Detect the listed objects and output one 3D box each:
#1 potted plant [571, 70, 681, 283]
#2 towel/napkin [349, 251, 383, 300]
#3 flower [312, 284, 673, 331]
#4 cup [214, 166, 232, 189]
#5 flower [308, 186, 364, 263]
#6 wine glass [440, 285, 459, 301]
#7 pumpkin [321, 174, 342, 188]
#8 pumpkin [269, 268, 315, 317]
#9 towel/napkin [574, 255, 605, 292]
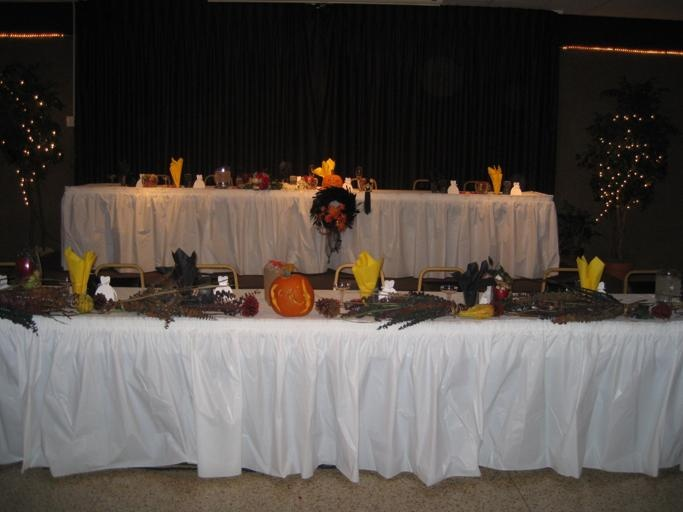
[{"bbox_3d":[4.066,-1.198,9.769,1.257,2.623,0.795,4,10,22],"label":"potted plant"},{"bbox_3d":[0.166,0.132,4.589,0.164,0.316,0.211,-3,16,2],"label":"towel/napkin"},{"bbox_3d":[0.971,0.341,4.420,2.018,0.369,0.234,0,-6,-1],"label":"flower"},{"bbox_3d":[-1.506,-1.003,8.570,0.291,0.362,0.200,0,7,3],"label":"cup"},{"bbox_3d":[-0.071,-0.408,7.933,0.522,0.773,0.372,-1,4,-12],"label":"flower"},{"bbox_3d":[0.745,0.250,4.702,0.083,0.154,0.091,-1,5,-10],"label":"wine glass"},{"bbox_3d":[-0.108,-0.882,8.153,0.160,0.123,0.175,-1,6,-14],"label":"pumpkin"},{"bbox_3d":[-0.324,0.213,4.406,0.237,0.404,0.254,-4,5,-21],"label":"pumpkin"},{"bbox_3d":[1.679,0.126,4.697,0.140,0.208,0.154,-4,0,-38],"label":"towel/napkin"}]
